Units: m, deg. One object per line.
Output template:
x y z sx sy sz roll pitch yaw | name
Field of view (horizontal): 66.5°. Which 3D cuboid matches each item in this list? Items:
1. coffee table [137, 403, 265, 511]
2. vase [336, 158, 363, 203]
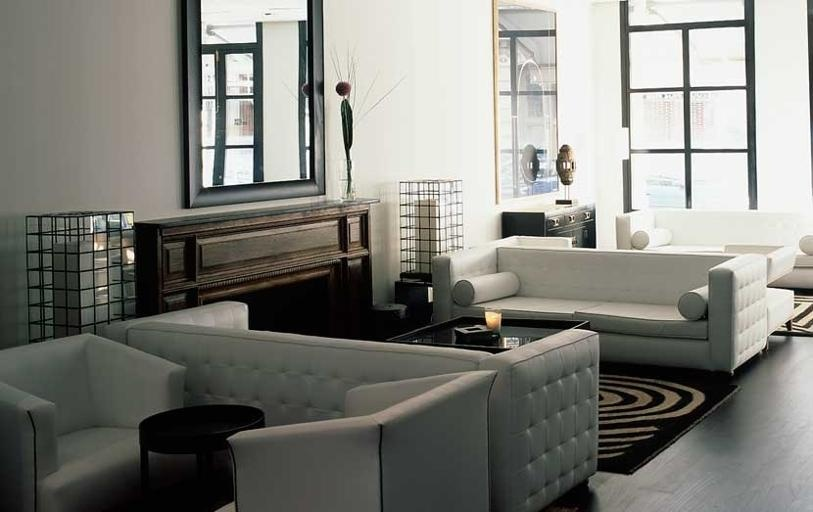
-1.054 0.909 3.377 0.589 0.422 0.606 5 10 27 | coffee table
-0.607 -0.777 6.383 0.238 0.427 0.606 -3 6 -5 | vase
